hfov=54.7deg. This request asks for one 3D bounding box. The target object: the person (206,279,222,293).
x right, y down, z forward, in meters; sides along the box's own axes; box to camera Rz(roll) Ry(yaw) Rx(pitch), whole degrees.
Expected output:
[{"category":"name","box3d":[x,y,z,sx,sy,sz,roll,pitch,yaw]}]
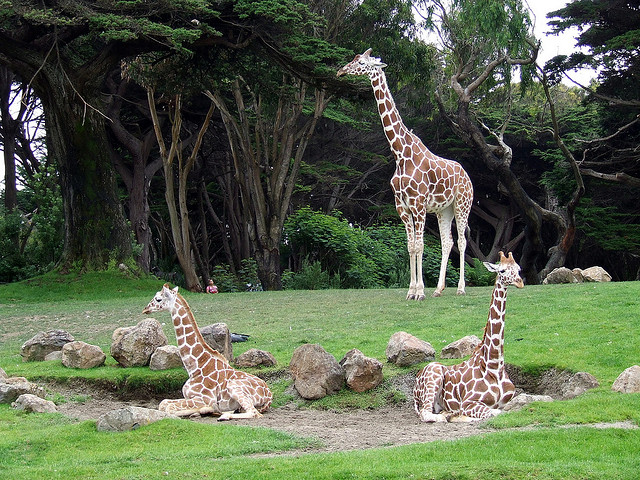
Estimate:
[{"category":"person","box3d":[-4.642,2.060,27.362,0.505,0.850,0.463,0,-44,-24]}]

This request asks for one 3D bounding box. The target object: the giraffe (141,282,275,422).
[{"category":"giraffe","box3d":[-1.789,1.803,9.758,1.893,2.177,1.000,4,-12,-17]}]

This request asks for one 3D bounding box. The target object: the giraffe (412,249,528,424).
[{"category":"giraffe","box3d":[2.505,1.833,10.227,1.570,3.411,2.266,6,-7,-44]}]

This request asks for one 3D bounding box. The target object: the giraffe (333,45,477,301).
[{"category":"giraffe","box3d":[2.432,-1.714,15.861,2.962,6.502,1.472,0,-2,1]}]
